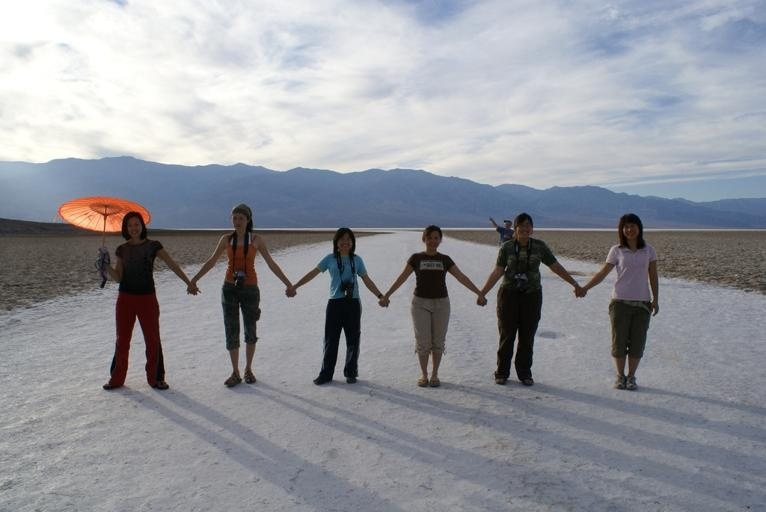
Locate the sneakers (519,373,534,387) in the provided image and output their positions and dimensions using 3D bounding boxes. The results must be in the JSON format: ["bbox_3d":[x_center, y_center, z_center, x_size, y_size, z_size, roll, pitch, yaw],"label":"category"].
[{"bbox_3d":[2.098,1.824,6.914,0.124,0.112,0.250,0,-4,-9],"label":"sneakers"}]

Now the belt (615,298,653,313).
[{"bbox_3d":[3.518,0.699,6.651,0.554,0.208,0.138,2,15,7],"label":"belt"}]

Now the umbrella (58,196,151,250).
[{"bbox_3d":[-4.245,-0.484,7.181,1.013,0.811,0.954,-13,-17,6],"label":"umbrella"}]

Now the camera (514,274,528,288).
[{"bbox_3d":[1.962,0.354,6.702,0.171,0.221,0.067,3,15,11],"label":"camera"}]

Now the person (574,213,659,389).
[{"bbox_3d":[3.488,0.658,6.820,0.822,2.593,0.919,8,17,29],"label":"person"}]

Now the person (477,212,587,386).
[{"bbox_3d":[2.080,0.661,6.973,1.099,2.646,1.022,7,17,24],"label":"person"}]

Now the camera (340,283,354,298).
[{"bbox_3d":[-0.524,0.504,6.851,0.168,0.210,0.084,1,-2,-8],"label":"camera"}]

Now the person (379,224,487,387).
[{"bbox_3d":[0.716,0.740,6.918,0.732,2.370,0.736,-3,15,-9],"label":"person"}]

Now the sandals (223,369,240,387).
[{"bbox_3d":[-2.214,1.810,6.874,0.143,0.128,0.291,-3,-3,7],"label":"sandals"}]

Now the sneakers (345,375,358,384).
[{"bbox_3d":[-0.483,1.830,6.980,0.172,0.157,0.092,-3,-5,41],"label":"sneakers"}]

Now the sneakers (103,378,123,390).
[{"bbox_3d":[-3.877,1.847,6.764,0.257,0.094,0.128,4,0,13],"label":"sneakers"}]

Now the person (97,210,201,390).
[{"bbox_3d":[-3.517,0.628,6.743,0.886,2.480,0.730,0,15,1],"label":"person"}]

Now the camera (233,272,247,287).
[{"bbox_3d":[-2.038,0.322,6.675,0.229,0.200,0.134,-7,15,-23],"label":"camera"}]

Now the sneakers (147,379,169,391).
[{"bbox_3d":[-3.216,1.855,6.757,0.302,0.117,0.117,1,4,16],"label":"sneakers"}]
